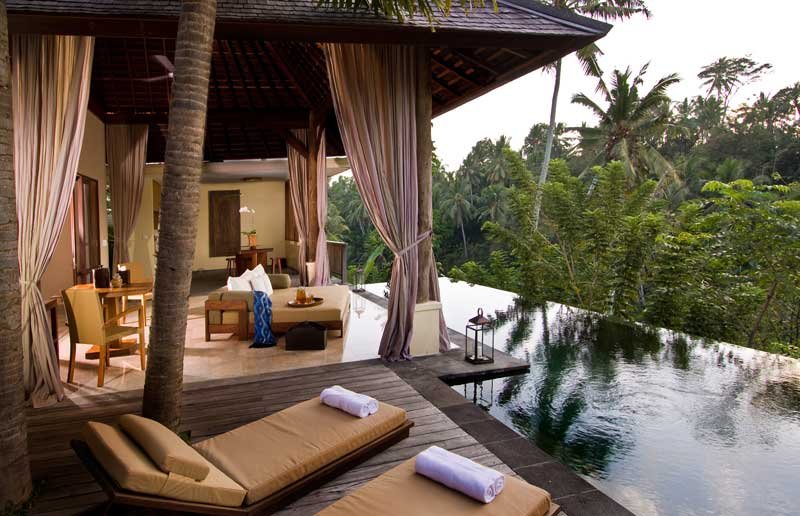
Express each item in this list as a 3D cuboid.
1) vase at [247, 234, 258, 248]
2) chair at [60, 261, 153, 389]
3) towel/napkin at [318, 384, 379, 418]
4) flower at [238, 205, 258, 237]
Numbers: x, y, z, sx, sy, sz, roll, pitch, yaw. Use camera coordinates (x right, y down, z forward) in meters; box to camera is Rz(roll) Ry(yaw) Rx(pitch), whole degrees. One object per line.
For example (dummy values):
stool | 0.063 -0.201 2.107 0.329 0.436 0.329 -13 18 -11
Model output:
vase | -3.535 -0.432 12.262 0.181 0.358 0.507 -3 3 -23
chair | -3.849 0.797 6.829 1.188 1.922 1.201 2 4 31
towel/napkin | -0.514 1.424 5.086 0.424 0.133 0.280 10 9 28
flower | -4.788 -1.214 16.054 0.505 0.923 0.447 -2 4 -18
